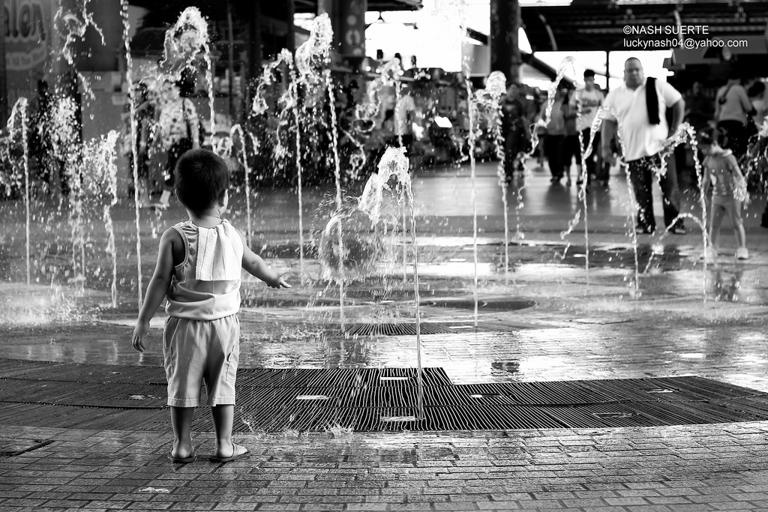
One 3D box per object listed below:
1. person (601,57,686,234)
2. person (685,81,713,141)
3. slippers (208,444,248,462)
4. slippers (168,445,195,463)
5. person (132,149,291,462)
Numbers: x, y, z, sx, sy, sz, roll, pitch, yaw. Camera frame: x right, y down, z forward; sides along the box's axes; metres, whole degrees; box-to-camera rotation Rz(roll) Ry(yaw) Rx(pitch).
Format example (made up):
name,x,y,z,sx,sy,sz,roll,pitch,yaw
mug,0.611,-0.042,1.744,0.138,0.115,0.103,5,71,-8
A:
name,x,y,z,sx,sy,sz,roll,pitch,yaw
person,4.037,-1.753,14.686,1.054,2.782,1.402,-1,3,-4
person,7.734,-3.681,23.194,0.652,1.404,1.687,0,3,18
slippers,-0.834,1.071,5.176,0.087,0.053,0.166,5,7,44
slippers,-1.095,1.084,5.132,0.141,0.067,0.121,-1,3,-13
person,-0.987,0.261,5.191,0.741,1.706,0.277,-1,3,-7
